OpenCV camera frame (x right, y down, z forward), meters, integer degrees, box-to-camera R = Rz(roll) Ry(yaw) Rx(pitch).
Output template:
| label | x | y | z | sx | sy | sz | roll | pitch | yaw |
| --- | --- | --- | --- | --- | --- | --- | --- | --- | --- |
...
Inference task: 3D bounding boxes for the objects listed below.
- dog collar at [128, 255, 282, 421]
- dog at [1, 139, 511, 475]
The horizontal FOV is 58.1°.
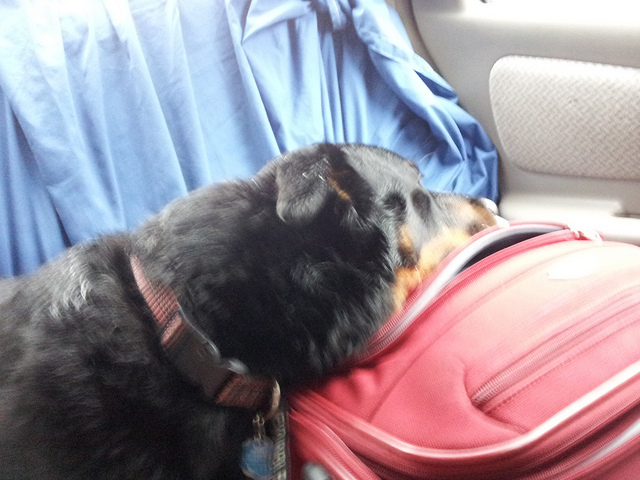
| label | x | y | z | sx | sy | sz | roll | pitch | yaw |
| --- | --- | --- | --- | --- | --- | --- | --- | --- | --- |
| dog collar | -0.175 | 0.096 | 0.743 | 0.059 | 0.236 | 0.172 | -36 | 29 | -1 |
| dog | 0.000 | 0.063 | 0.881 | 0.741 | 0.295 | 0.387 | -8 | 93 | -12 |
